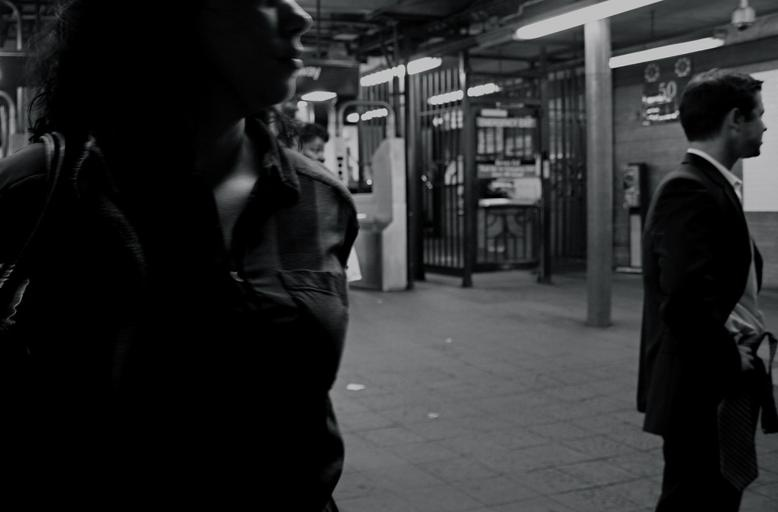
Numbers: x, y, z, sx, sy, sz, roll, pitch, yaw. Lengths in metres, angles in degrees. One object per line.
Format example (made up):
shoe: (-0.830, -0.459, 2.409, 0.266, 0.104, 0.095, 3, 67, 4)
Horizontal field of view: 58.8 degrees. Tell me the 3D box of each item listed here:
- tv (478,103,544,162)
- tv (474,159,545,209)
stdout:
tv: (2.290, -2.396, 13.076, 1.522, 1.266, 0.427, 0, 11, 1)
tv: (2.197, -1.338, 12.541, 1.297, 0.793, 0.210, -4, 7, -29)
